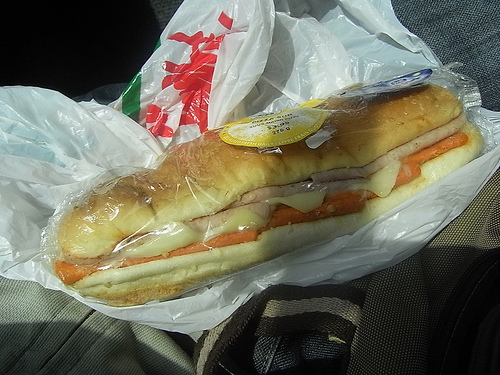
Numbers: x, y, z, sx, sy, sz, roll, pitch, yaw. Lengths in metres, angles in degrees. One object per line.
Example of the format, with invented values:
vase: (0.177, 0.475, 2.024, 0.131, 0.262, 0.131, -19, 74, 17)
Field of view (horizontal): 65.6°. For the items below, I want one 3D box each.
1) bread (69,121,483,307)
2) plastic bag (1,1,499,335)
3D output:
bread: (0.195, 0.079, 1.147, 1.312, 0.135, 0.351, -14, 34, -16)
plastic bag: (0.126, -0.024, 1.467, 1.729, 0.499, 1.061, -22, 49, -16)
